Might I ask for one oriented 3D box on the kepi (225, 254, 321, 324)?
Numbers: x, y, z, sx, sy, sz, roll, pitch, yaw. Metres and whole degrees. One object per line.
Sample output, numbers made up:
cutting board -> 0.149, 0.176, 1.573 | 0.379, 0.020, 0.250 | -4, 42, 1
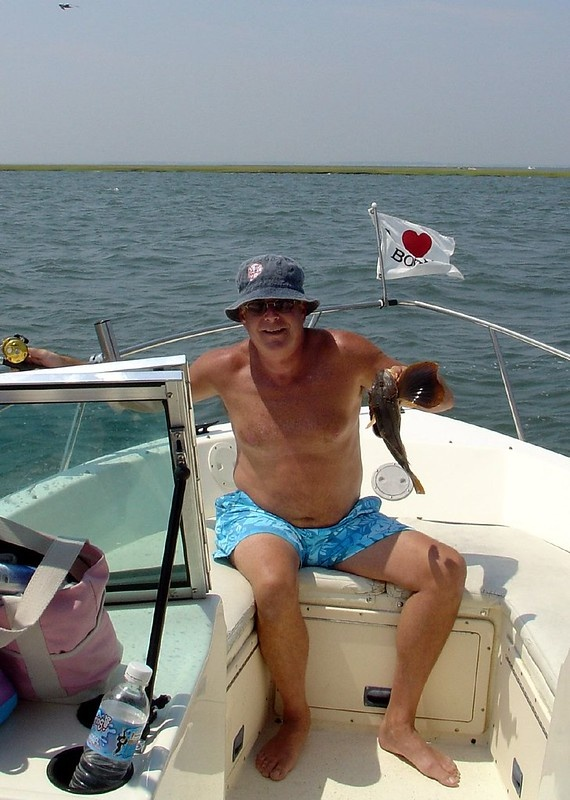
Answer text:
kepi -> -0.049, -0.409, 2.373 | 0.284, 0.128, 0.242 | -12, 14, -26

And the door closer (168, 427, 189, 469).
door closer -> -0.240, 0.106, 1.588 | 0.046, 0.106, 0.012 | 0, 25, 13

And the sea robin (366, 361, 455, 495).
sea robin -> 0.390, 0.125, 2.222 | 0.265, 0.553, 0.349 | -1, 24, 12

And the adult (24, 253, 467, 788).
adult -> -0.066, 0.349, 2.481 | 1.602, 1.584, 0.928 | 5, 9, 26
